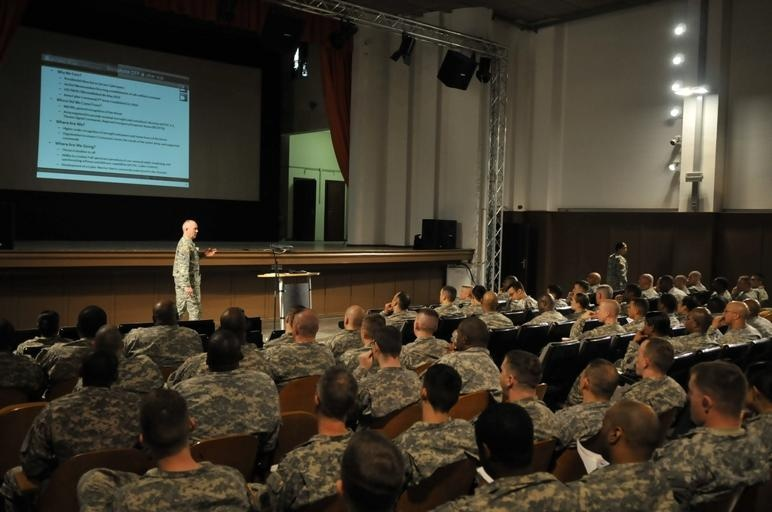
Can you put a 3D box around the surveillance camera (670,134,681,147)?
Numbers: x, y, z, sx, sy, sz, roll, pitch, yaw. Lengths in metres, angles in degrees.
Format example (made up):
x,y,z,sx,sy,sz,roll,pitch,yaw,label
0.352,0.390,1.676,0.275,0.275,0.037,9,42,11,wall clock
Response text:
x,y,z,sx,sy,sz,roll,pitch,yaw,label
6.342,-2.525,12.848,0.207,0.246,0.148,-1,2,23,surveillance camera

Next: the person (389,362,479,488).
x,y,z,sx,sy,sz,roll,pitch,yaw,label
0.296,1.138,3.871,0.732,0.563,0.376,-8,13,-28,person

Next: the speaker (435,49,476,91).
x,y,z,sx,sy,sz,roll,pitch,yaw,label
1.473,-3.826,12.075,0.624,0.720,0.522,-3,2,-32,speaker

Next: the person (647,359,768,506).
x,y,z,sx,sy,sz,roll,pitch,yaw,label
2.055,1.145,3.730,0.773,0.564,0.425,-6,14,-25,person
